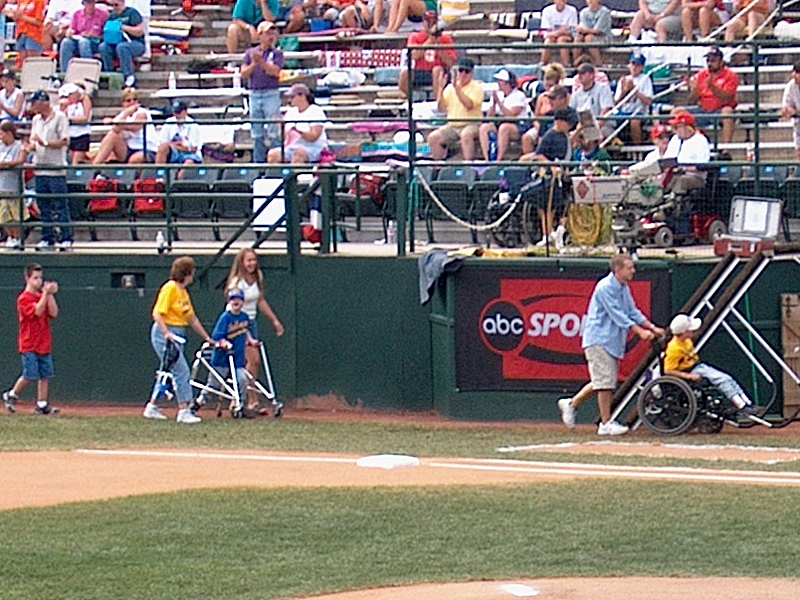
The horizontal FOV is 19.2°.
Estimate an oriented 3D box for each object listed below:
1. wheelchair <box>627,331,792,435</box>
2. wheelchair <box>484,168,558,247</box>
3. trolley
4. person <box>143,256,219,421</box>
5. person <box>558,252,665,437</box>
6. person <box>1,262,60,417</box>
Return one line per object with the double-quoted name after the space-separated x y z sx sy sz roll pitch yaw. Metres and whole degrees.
4.263 1.241 33.236 1.641 1.494 1.529 6 4 12 "wheelchair"
1.733 -1.362 33.679 0.815 1.081 1.178 1 0 7 "wheelchair"
-2.395 1.123 34.034 1.306 1.194 0.938 6 6 25 "trolley"
-3.110 0.527 33.535 0.755 2.338 0.564 -2 5 -6 "person"
2.912 0.589 32.679 1.376 2.512 0.416 2 6 28 "person"
-5.281 0.535 34.166 0.731 2.165 0.571 -2 5 -8 "person"
